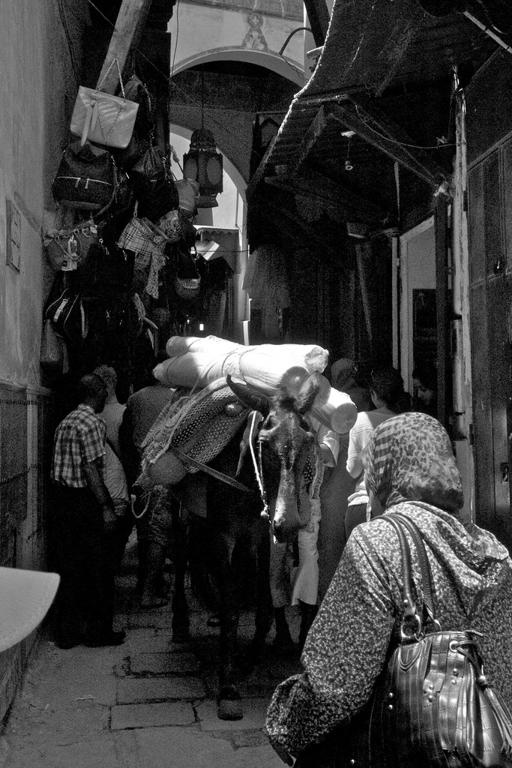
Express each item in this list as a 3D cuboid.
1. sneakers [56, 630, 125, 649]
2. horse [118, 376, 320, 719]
[{"bbox_3d":[-0.961,1.509,4.765,0.244,0.076,0.162,2,-15,-17],"label":"sneakers"},{"bbox_3d":[-0.221,0.748,4.359,0.436,1.619,2.026,1,1,-22],"label":"horse"}]
